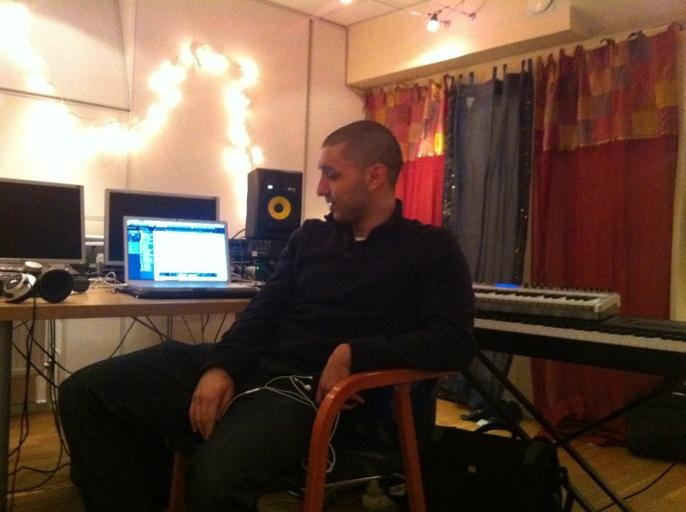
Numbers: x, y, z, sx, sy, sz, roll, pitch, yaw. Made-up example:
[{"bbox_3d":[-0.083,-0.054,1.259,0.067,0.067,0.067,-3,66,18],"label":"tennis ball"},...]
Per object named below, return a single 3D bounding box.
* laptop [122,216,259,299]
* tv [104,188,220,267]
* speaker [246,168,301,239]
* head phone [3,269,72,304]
[{"bbox_3d":[-0.771,0.013,2.558,0.601,0.317,0.497,-1,9,-29],"label":"laptop"},{"bbox_3d":[-1.084,-0.187,3.272,0.670,0.417,0.458,1,8,-20],"label":"tv"},{"bbox_3d":[-0.464,-0.346,3.839,0.330,0.450,0.299,2,2,-15],"label":"speaker"},{"bbox_3d":[-1.129,0.117,2.098,0.161,0.061,0.135,-3,4,5],"label":"head phone"}]
